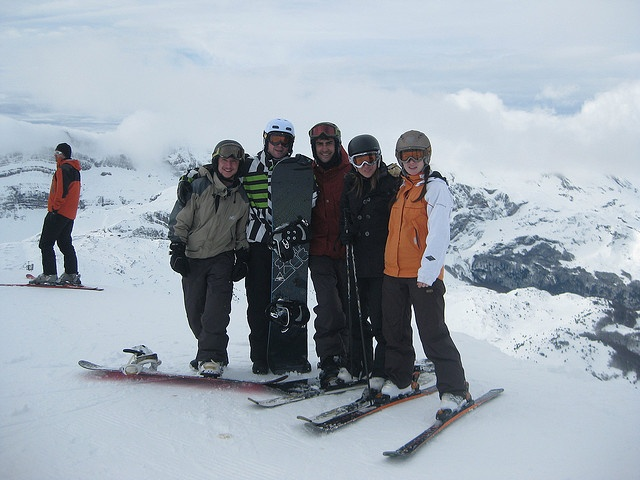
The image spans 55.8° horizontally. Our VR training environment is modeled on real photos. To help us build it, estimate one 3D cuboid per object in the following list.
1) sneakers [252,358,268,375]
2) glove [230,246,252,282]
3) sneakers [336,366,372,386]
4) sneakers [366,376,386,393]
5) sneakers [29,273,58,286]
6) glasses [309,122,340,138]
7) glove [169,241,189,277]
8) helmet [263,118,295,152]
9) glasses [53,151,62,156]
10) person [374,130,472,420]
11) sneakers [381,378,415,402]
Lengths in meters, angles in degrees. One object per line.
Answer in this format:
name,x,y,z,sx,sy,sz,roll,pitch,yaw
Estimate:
sneakers,-0.799,1.686,8.025,0.152,0.171,0.195,0,9,5
glove,-1.051,0.329,8.007,0.243,0.432,0.414,3,-29,-3
sneakers,0.379,1.714,7.538,0.162,0.232,0.526,2,-10,-44
sneakers,0.662,1.737,7.197,0.131,0.162,0.373,-1,-12,9
sneakers,-5.700,0.834,12.393,0.633,0.292,0.228,5,5,-3
glasses,0.055,-1.371,7.666,0.360,0.185,0.235,0,7,-2
glove,-1.793,0.232,7.654,0.289,0.380,0.152,4,-7,-6
helmet,-0.547,-1.366,8.006,0.375,0.418,0.318,0,6,-8
glasses,-5.200,-1.724,12.051,0.087,0.066,0.088,1,-5,-9
person,1.131,0.366,6.963,0.747,3.201,1.105,-2,7,-27
sneakers,0.882,1.806,7.255,0.546,0.243,0.181,2,-5,-39
